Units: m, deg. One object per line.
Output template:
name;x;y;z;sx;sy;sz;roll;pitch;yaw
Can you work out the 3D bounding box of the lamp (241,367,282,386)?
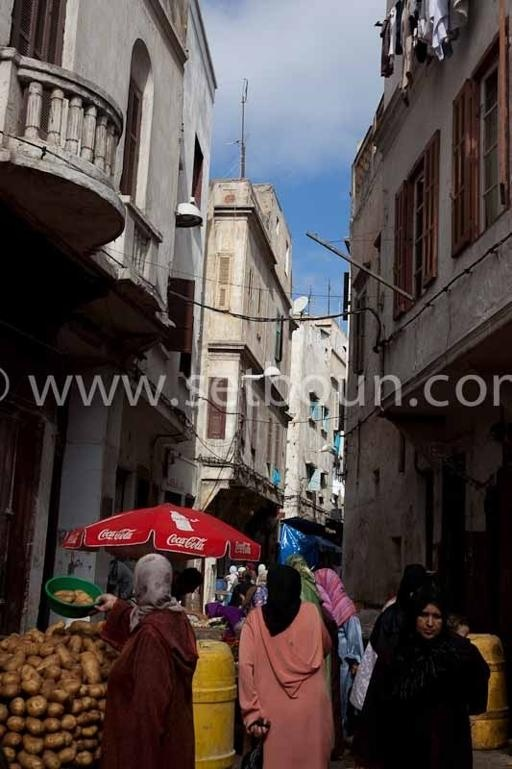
lamp;0.222;-0.282;24.340;1.043;0.664;0.735;1;4;12
